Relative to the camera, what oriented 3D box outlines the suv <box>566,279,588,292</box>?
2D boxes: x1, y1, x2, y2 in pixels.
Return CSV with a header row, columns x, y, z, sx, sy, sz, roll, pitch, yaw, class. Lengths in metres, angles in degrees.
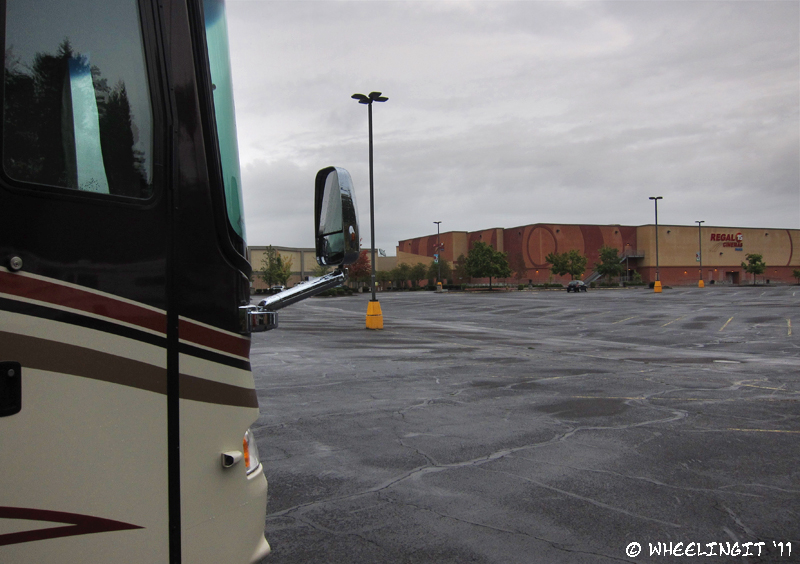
x,y,z,sx,sy,sz,roll,pitch,yaw,class
20.272,0.533,74.400,2.391,1.106,1.421,5,-8,-33,suv
